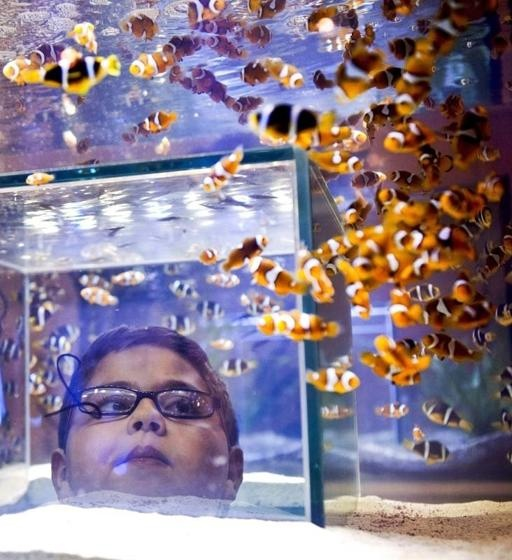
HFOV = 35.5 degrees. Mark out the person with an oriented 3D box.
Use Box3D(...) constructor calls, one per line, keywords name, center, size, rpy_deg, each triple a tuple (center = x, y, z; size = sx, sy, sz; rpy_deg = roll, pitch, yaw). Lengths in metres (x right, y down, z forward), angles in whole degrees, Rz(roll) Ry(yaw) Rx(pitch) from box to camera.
Box3D(name="person", center=(-0.692, 0.821, 4.870), size=(1.238, 1.050, 0.430), rpy_deg=(-1, -2, 6))
